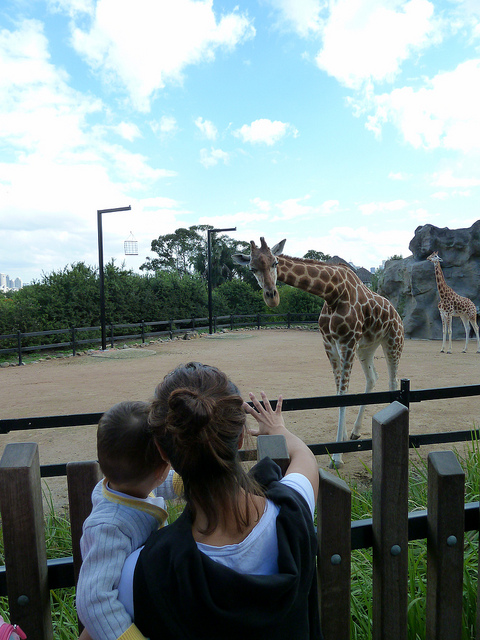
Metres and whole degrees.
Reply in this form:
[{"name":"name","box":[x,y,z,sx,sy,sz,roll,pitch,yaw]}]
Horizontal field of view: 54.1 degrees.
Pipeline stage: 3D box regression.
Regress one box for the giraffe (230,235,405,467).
[{"name":"giraffe","box":[1.099,0.435,5.386,2.419,2.413,0.701,3,-1,-34]}]

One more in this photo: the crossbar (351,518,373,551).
[{"name":"crossbar","box":[0.333,0.584,1.292,0.055,0.095,0.111,-1,2,15]}]

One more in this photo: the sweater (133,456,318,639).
[{"name":"sweater","box":[-0.009,0.475,1.021,0.372,0.462,0.282,-4,8,-13]}]
